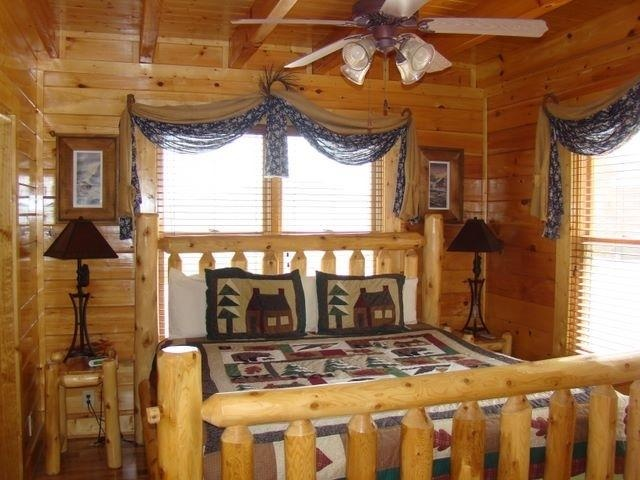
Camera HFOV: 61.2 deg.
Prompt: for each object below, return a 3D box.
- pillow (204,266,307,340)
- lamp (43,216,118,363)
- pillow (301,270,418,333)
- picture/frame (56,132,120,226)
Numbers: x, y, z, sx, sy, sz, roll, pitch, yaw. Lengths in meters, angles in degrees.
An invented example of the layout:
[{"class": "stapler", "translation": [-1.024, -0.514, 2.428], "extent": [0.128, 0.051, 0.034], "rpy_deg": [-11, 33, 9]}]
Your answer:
[{"class": "pillow", "translation": [-0.450, 0.446, 3.630], "extent": [0.577, 0.341, 0.071], "rpy_deg": [1, -22, -15]}, {"class": "lamp", "translation": [-1.662, 0.336, 3.795], "extent": [0.435, 1.006, 0.447], "rpy_deg": [-7, 17, -25]}, {"class": "pillow", "translation": [0.104, 0.430, 3.737], "extent": [0.712, 0.415, 0.174], "rpy_deg": [-4, -1, -12]}, {"class": "picture/frame", "translation": [-1.705, -0.454, 3.949], "extent": [0.417, 0.604, 0.195], "rpy_deg": [-2, 16, -8]}]
